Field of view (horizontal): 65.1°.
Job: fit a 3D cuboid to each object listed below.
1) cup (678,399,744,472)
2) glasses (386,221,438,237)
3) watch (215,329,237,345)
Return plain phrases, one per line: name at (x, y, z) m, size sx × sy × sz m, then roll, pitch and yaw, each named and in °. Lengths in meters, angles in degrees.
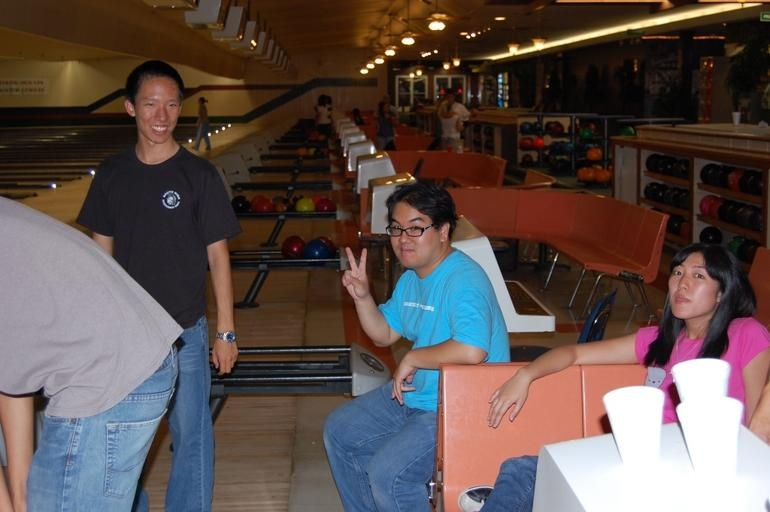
cup at (0.738, 0.406, 1.361) m, size 0.130 × 0.148 × 0.126 m, roll -13°, pitch 13°, yaw 3°
glasses at (0.080, -0.096, 2.248) m, size 0.193 × 0.052 × 0.053 m, roll 6°, pitch 16°, yaw 26°
watch at (-0.598, 0.304, 2.282) m, size 0.068 × 0.044 × 0.064 m, roll 2°, pitch -7°, yaw -34°
